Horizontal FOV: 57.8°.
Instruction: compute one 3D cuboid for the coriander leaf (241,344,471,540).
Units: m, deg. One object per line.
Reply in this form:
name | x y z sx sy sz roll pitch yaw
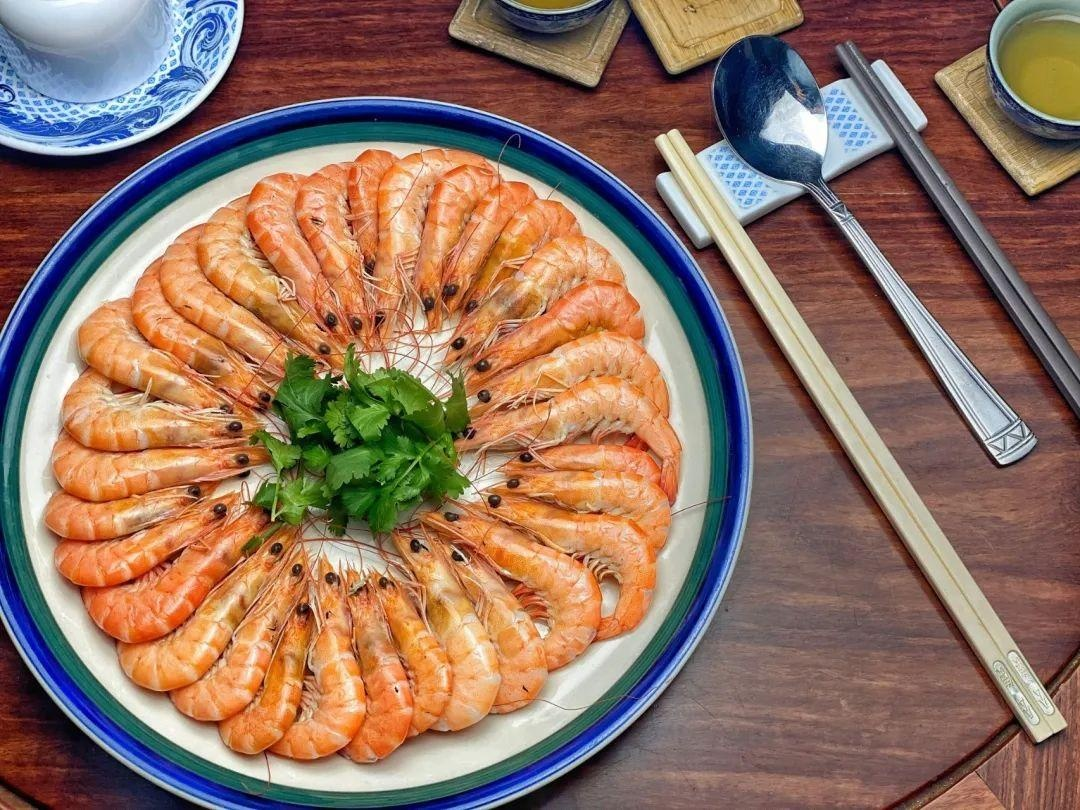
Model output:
coriander leaf | -0.435 0.089 2.371 0.515 0.177 0.442 0 82 -2
